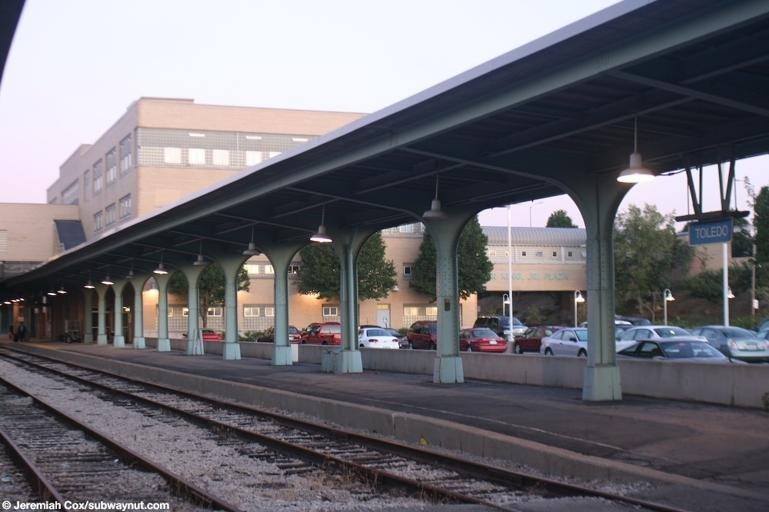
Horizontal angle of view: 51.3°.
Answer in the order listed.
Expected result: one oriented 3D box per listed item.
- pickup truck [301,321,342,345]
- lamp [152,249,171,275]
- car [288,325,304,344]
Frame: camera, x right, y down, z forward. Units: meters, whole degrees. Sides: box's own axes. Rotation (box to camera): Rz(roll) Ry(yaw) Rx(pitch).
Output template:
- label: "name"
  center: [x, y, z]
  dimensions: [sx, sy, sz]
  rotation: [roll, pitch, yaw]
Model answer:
- label: "pickup truck"
  center: [-3.381, 4.437, 45.379]
  dimensions: [1.465, 1.176, 3.070]
  rotation: [3, -3, -35]
- label: "lamp"
  center: [-12.398, 0.264, 44.562]
  dimensions: [1.336, 1.569, 1.367]
  rotation: [1, 0, 5]
- label: "car"
  center: [-5.810, 5.192, 51.623]
  dimensions: [1.170, 0.935, 2.774]
  rotation: [0, 3, -12]
